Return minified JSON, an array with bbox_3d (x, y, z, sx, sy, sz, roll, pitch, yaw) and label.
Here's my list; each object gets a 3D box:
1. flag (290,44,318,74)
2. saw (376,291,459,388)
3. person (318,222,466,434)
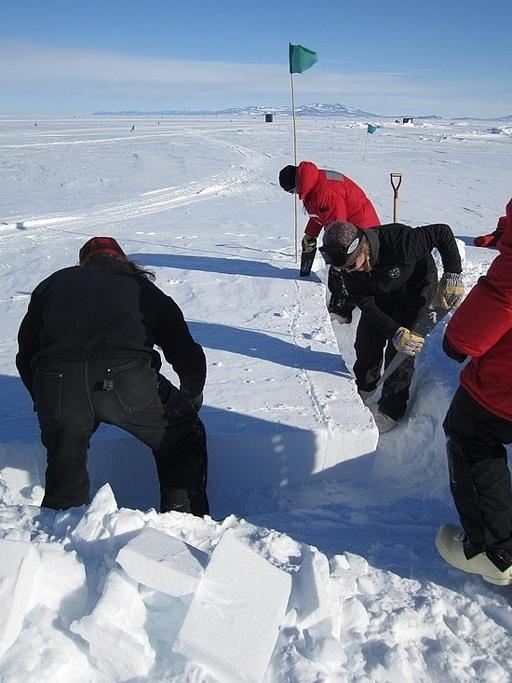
[{"bbox_3d":[0.467,-2.837,5.783,0.259,0.261,0.307,3,24,3],"label":"flag"},{"bbox_3d":[0.865,0.019,3.217,0.205,0.732,0.017,42,28,19],"label":"saw"},{"bbox_3d":[0.677,-0.103,3.348,0.814,1.282,0.607,-13,24,-22],"label":"person"}]
